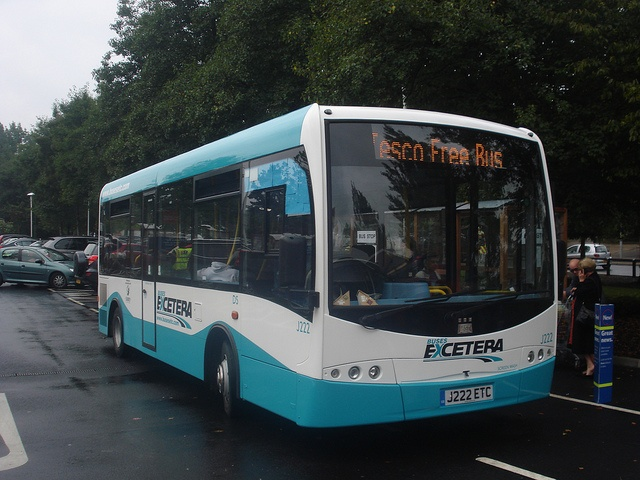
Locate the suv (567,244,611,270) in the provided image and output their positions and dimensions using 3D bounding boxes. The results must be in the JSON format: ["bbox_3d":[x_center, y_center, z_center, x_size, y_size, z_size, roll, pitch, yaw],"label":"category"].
[{"bbox_3d":[13.898,0.844,28.764,1.124,1.136,1.977,-3,9,-32],"label":"suv"}]

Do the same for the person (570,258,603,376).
[{"bbox_3d":[4.677,1.362,9.812,0.479,2.034,0.820,1,2,27],"label":"person"}]
